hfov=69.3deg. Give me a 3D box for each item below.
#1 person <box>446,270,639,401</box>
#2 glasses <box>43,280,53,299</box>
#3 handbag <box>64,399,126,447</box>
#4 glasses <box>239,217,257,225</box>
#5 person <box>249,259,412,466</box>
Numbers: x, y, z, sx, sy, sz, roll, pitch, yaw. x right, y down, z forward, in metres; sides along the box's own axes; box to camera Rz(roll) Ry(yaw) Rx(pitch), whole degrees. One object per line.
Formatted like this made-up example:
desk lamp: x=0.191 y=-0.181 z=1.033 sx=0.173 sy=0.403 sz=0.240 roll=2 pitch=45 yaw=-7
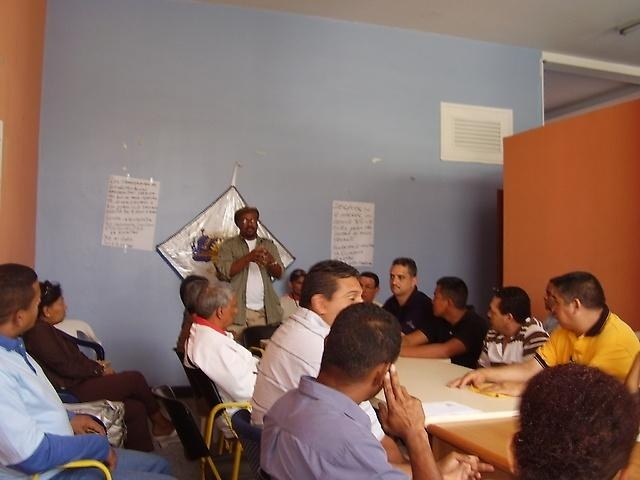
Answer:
person: x=1.097 y=0.448 z=2.612 sx=0.929 sy=0.771 sz=0.618 roll=2 pitch=-5 yaw=7
glasses: x=-1.748 y=0.305 z=2.957 sx=0.040 sy=0.098 sz=0.068 roll=-1 pitch=-5 yaw=34
handbag: x=-1.108 y=0.922 z=2.377 sx=0.252 sy=0.141 sz=0.332 roll=15 pitch=7 yaw=-23
glasses: x=-0.639 y=-0.181 z=4.133 sx=0.145 sy=0.096 sz=0.060 roll=0 pitch=5 yaw=-28
person: x=-0.057 y=0.356 z=1.858 sx=0.743 sy=0.922 sz=0.580 roll=1 pitch=0 yaw=-21
